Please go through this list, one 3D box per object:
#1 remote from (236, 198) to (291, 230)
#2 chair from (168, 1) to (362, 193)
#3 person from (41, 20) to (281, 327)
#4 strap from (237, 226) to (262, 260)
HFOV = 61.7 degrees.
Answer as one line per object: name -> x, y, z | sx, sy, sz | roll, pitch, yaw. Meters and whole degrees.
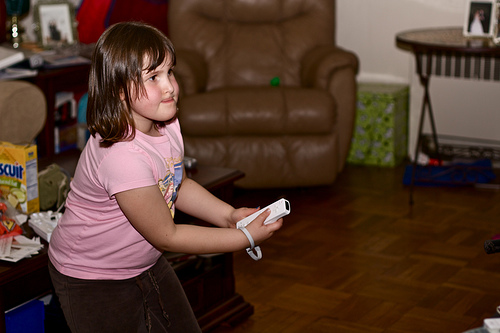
remote -> 0.041, 0.156, 1.205 | 0.148, 0.020, 0.075 | -28, 18, 13
chair -> 0.168, -0.594, 3.894 | 1.613, 2.009, 1.587 | 0, 14, -1
person -> -0.276, 0.069, 1.135 | 0.528, 0.874, 0.317 | -11, 16, -27
strap -> 0.005, 0.219, 1.187 | 0.057, 0.100, 0.020 | 19, 47, 41
